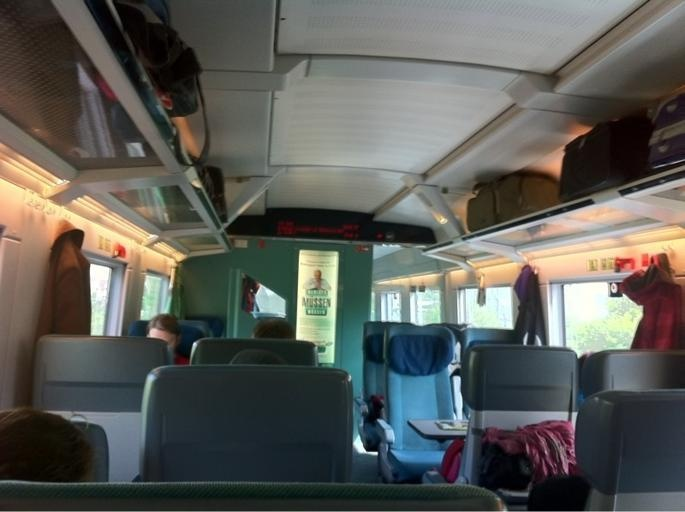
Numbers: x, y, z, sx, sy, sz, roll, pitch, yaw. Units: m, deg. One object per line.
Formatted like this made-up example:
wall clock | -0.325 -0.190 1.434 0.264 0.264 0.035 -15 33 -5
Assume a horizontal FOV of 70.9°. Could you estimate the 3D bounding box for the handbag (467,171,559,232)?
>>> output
handbag | 2.035 -0.726 5.796 0.690 0.640 0.949 -34 0 -21
